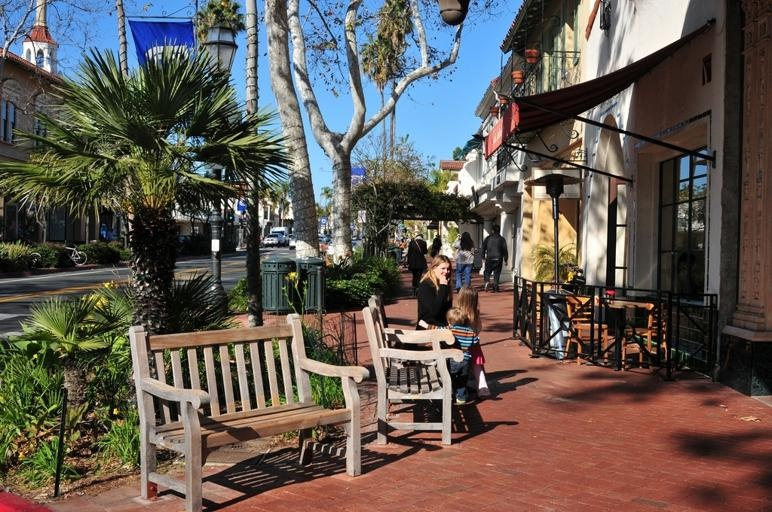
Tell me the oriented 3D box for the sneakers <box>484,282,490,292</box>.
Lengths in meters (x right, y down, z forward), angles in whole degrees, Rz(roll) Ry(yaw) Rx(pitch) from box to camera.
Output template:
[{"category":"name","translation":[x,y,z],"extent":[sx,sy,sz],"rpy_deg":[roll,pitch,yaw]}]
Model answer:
[{"category":"sneakers","translation":[3.508,1.096,22.427],"extent":[0.135,0.382,0.154],"rpy_deg":[0,20,-3]}]

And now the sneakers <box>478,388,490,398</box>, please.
[{"category":"sneakers","translation":[1.311,1.850,8.758],"extent":[0.111,0.152,0.181],"rpy_deg":[-1,-8,-33]}]

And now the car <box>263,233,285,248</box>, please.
[{"category":"car","translation":[-13.019,-2.002,77.035],"extent":[1.250,1.110,2.732],"rpy_deg":[-3,-7,6]}]

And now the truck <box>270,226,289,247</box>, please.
[{"category":"truck","translation":[-12.829,-2.471,79.991],"extent":[1.903,1.994,3.466],"rpy_deg":[-1,-5,6]}]

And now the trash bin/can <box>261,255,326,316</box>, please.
[{"category":"trash bin/can","translation":[-2.153,0.703,15.300],"extent":[1.198,1.217,0.790],"rpy_deg":[2,9,10]}]

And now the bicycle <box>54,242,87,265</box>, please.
[{"category":"bicycle","translation":[-15.106,-0.005,31.843],"extent":[0.810,0.959,1.540],"rpy_deg":[-1,6,-12]}]
